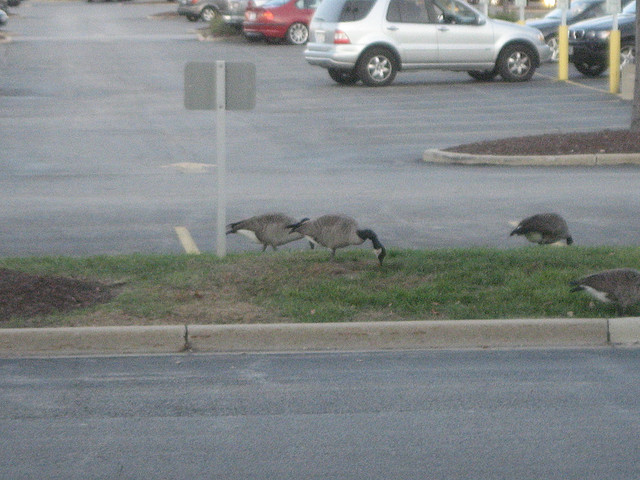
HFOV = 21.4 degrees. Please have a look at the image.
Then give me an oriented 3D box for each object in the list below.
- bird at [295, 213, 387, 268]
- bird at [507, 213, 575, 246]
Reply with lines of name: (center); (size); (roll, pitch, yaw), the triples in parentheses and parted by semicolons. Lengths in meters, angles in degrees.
bird: (0.299, -0.084, 28.563); (1.811, 0.963, 0.648); (13, 8, 10)
bird: (3.859, -0.193, 29.552); (1.018, 0.584, 0.359); (2, 12, 7)
